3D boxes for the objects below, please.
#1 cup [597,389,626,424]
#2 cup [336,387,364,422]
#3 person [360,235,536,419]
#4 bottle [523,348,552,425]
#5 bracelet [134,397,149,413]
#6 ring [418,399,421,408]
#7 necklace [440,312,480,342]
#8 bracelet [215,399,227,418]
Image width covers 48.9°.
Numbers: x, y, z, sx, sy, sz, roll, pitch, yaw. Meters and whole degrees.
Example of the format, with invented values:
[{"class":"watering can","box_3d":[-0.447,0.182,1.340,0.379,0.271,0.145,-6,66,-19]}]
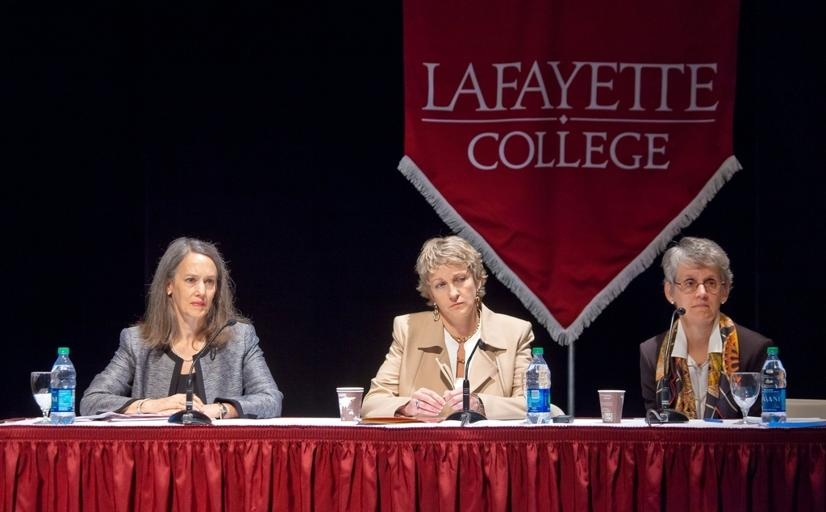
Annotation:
[{"class":"cup","box_3d":[1.120,0.856,5.186,0.167,0.169,0.168,0,-7,0]},{"class":"cup","box_3d":[-0.336,0.847,5.231,0.168,0.178,0.173,0,-9,0]},{"class":"person","box_3d":[0.229,0.430,5.680,1.023,1.198,0.674,-2,-12,7]},{"class":"bottle","box_3d":[0.714,0.732,5.153,0.138,0.430,0.216,-2,-12,7]},{"class":"bracelet","box_3d":[-1.593,0.882,5.367,0.063,0.088,0.121,5,-14,-24]},{"class":"ring","box_3d":[0.043,0.855,5.271,0.023,0.034,0.008,-4,-5,34]},{"class":"necklace","box_3d":[0.315,0.472,5.854,0.155,0.077,0.217,-3,-27,3]},{"class":"bracelet","box_3d":[-1.123,0.902,5.367,0.041,0.078,0.057,-11,15,-27]}]
